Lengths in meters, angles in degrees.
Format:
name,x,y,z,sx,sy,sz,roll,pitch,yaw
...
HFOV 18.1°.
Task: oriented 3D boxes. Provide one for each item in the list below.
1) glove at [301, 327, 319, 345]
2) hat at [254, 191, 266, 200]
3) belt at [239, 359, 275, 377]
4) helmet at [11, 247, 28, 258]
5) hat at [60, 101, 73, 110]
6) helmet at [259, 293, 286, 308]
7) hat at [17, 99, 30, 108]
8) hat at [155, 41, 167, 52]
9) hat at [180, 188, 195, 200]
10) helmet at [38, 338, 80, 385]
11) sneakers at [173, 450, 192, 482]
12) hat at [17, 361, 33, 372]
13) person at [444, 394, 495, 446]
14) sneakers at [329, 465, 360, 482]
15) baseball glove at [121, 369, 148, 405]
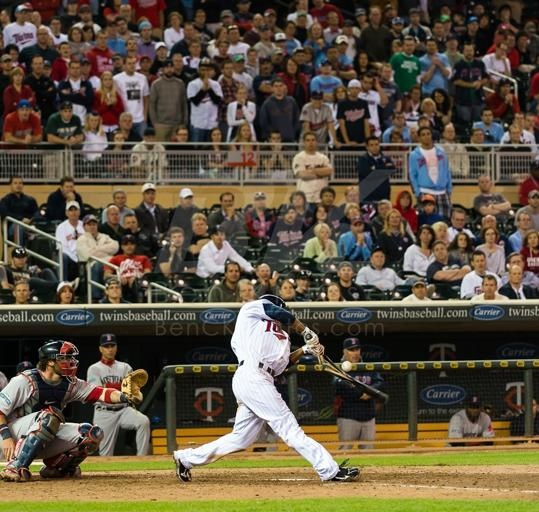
name,x,y,z,sx,sy,sz,roll,pitch,yaw
glove,0.441,0.922,19.772,0.095,0.210,0.157,-34,-12,-31
hat,-0.196,-0.931,25.770,0.139,0.078,0.221,1,-6,-5
belt,-0.142,1.263,19.382,0.227,0.073,0.238,20,-10,26
helmet,-3.544,-0.064,23.913,0.123,0.168,0.172,3,-2,-21
hat,-3.146,-2.332,26.187,0.115,0.138,0.161,3,-17,-24
helmet,0.025,0.501,19.553,0.197,0.094,0.162,27,8,-3
hat,-3.784,-2.359,26.017,0.130,0.100,0.191,-2,-1,-12
hat,-1.865,-3.545,28.446,0.165,0.109,0.264,0,2,-7
hat,-1.337,-0.957,25.599,0.202,0.162,0.343,1,1,-9
helmet,-2.475,1.187,19.781,0.429,0.469,0.375,-2,-2,10
sneakers,-1.026,2.433,19.471,0.174,0.450,0.145,-12,9,5
hat,-3.096,1.385,21.386,0.160,0.158,0.276,1,-17,-10
person,2.718,2.334,23.174,0.634,0.879,0.531,2,2,3
sneakers,0.825,2.460,19.180,0.382,0.190,0.138,-6,-1,3
baseball glove,-1.619,1.466,19.990,0.229,0.194,0.549,29,4,-14
